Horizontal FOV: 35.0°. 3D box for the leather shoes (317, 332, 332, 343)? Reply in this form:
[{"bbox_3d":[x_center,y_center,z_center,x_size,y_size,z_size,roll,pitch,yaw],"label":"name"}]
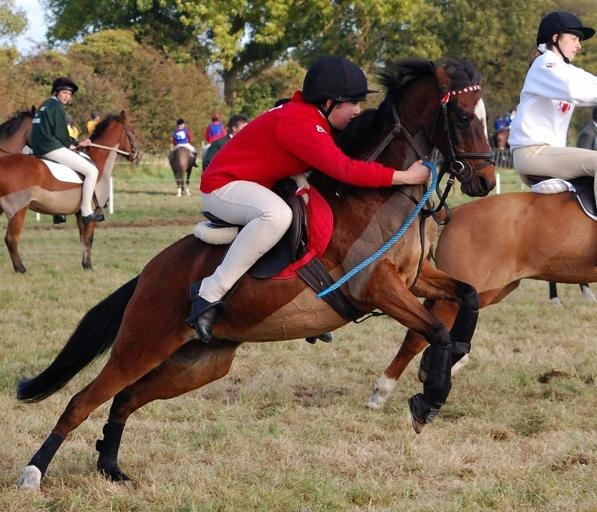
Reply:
[{"bbox_3d":[0.208,0.605,6.987,0.114,0.063,0.175,8,-2,0],"label":"leather shoes"}]

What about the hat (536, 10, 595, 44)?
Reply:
[{"bbox_3d":[2.073,-1.746,7.298,0.432,0.163,0.267,-5,1,12],"label":"hat"}]

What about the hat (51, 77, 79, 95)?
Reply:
[{"bbox_3d":[-2.810,-2.019,11.293,0.312,0.129,0.195,-10,-9,18],"label":"hat"}]

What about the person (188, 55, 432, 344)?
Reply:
[{"bbox_3d":[-0.032,-0.359,6.126,1.196,1.885,0.496,9,7,-7],"label":"person"}]

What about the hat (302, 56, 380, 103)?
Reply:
[{"bbox_3d":[0.274,-1.138,6.119,0.524,0.237,0.313,2,23,-8],"label":"hat"}]

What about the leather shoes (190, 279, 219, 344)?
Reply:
[{"bbox_3d":[-0.600,0.350,5.960,0.172,0.377,0.198,-5,0,-40],"label":"leather shoes"}]
